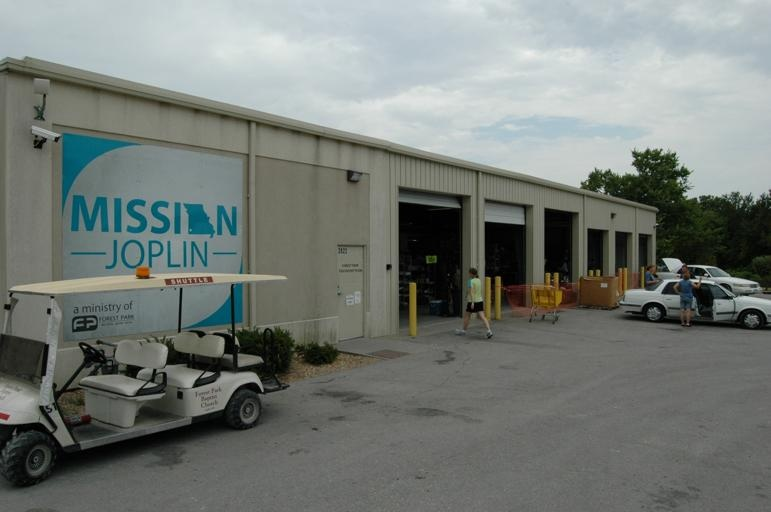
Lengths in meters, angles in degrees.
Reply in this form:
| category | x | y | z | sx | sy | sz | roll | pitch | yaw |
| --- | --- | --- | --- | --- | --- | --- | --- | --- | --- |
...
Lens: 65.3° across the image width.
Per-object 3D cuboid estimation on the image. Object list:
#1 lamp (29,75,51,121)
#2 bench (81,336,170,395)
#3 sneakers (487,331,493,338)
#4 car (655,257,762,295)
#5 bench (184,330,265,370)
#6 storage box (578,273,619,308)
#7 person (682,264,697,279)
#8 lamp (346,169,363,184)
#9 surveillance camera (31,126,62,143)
| category | x | y | z | sx | sy | sz | roll | pitch | yaw |
| --- | --- | --- | --- | --- | --- | --- | --- | --- | --- |
| lamp | -6.834 | -3.155 | 12.025 | 0.336 | 0.854 | 0.497 | -5 | 8 | -31 |
| bench | -4.229 | 1.856 | 9.986 | 1.231 | 0.761 | 0.921 | 2 | 7 | 28 |
| sneakers | 3.132 | 2.356 | 18.036 | 0.095 | 0.190 | 0.276 | -4 | 3 | -16 |
| car | 17.332 | 1.121 | 32.427 | 1.990 | 2.007 | 5.076 | 6 | -1 | -27 |
| bench | -2.885 | 1.754 | 10.756 | 0.762 | 0.647 | 1.086 | 3 | 6 | 43 |
| storage box | 9.002 | 1.541 | 25.666 | 1.267 | 1.222 | 0.762 | 2 | -1 | 29 |
| person | 13.150 | 0.682 | 26.058 | 1.036 | 0.549 | 0.632 | -2 | 4 | 25 |
| lamp | -0.914 | -2.313 | 17.495 | 0.158 | 0.313 | 0.472 | 1 | 2 | 36 |
| surveillance camera | -6.759 | -2.453 | 12.035 | 0.503 | 0.297 | 0.521 | -4 | 7 | -31 |
